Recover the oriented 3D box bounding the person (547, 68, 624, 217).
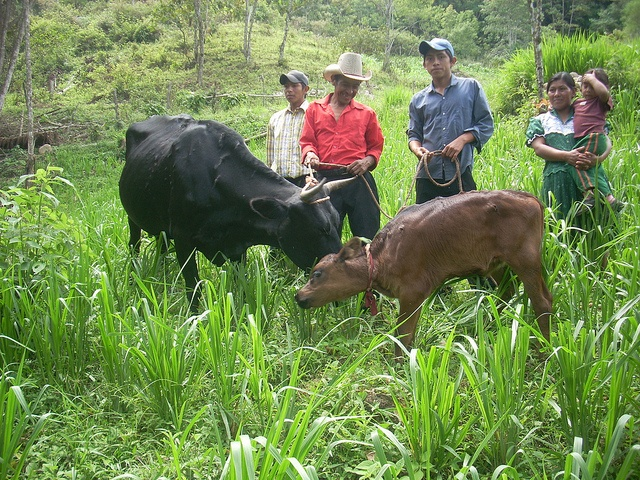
[{"bbox_3d":[2.686,-0.972,5.886,0.478,1.338,0.583,-1,13,-19],"label":"person"}]

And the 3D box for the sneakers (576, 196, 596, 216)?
[{"bbox_3d":[2.552,-0.329,5.862,0.145,0.211,0.264,12,15,34],"label":"sneakers"}]

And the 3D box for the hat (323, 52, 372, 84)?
[{"bbox_3d":[0.321,-1.894,6.691,0.483,0.329,0.576,3,12,-5],"label":"hat"}]
